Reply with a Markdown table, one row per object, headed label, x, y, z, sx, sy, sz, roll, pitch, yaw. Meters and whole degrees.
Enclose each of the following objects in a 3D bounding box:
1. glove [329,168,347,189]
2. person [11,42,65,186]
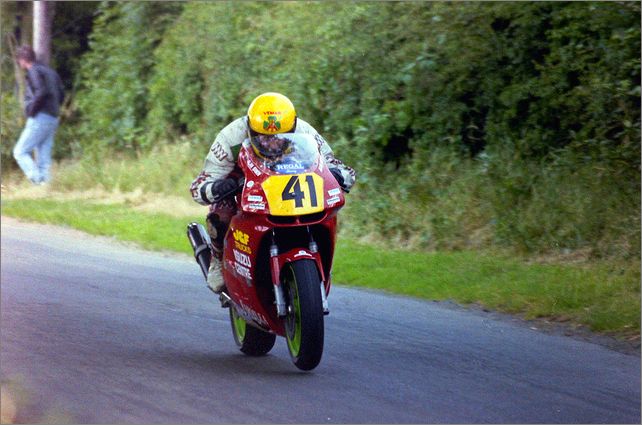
| label | x | y | z | sx | sy | sz | roll | pitch | yaw |
| --- | --- | --- | --- | --- | --- | --- | --- | --- | --- |
| glove | 0.216 | -0.417 | 9.434 | 0.154 | 0.236 | 0.097 | -31 | 0 | -31 |
| person | -6.479 | -2.224 | 17.343 | 0.946 | 3.031 | 1.201 | 2 | 13 | -12 |
